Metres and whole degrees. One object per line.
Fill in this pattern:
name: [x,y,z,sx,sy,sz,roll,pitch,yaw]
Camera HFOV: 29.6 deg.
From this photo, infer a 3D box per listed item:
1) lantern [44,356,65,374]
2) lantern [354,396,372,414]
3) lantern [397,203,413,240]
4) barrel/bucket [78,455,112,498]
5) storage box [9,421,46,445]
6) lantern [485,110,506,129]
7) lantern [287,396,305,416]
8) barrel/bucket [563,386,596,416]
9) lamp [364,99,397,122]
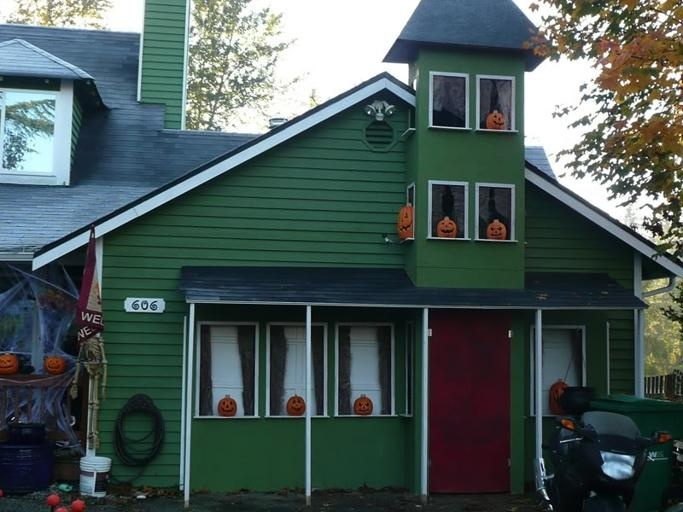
lantern: [-5.494,2.089,24.918,0.350,0.335,0.341,-2,-9,-5]
lantern: [0.409,2.941,25.481,0.321,0.371,0.336,0,-7,-6]
lantern: [1.249,-0.672,25.668,0.193,0.730,0.470,4,-10,-21]
barrel/bucket: [-4.580,4.160,24.587,0.680,0.708,0.667,3,-10,0]
storage box: [-5.896,3.265,24.218,0.467,0.214,0.462,5,-5,-40]
lantern: [3.019,-2.658,25.650,0.338,0.376,0.342,2,-8,-44]
lantern: [-0.962,2.945,25.461,0.371,0.419,0.354,2,-15,-13]
barrel/bucket: [4.525,2.802,24.986,0.537,0.517,0.559,2,-14,1]
lamp: [0.759,-2.899,25.947,0.481,0.463,0.186,3,-11,-7]
